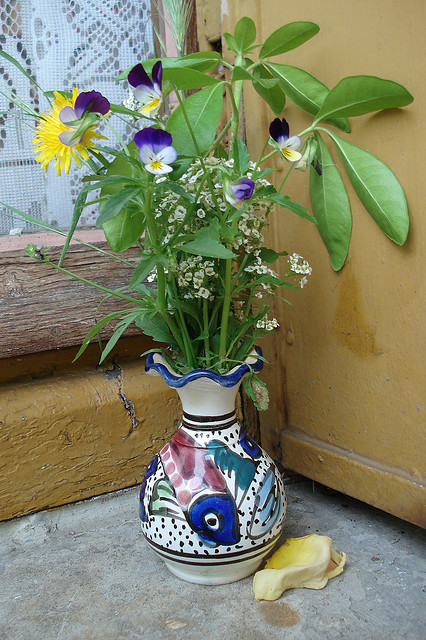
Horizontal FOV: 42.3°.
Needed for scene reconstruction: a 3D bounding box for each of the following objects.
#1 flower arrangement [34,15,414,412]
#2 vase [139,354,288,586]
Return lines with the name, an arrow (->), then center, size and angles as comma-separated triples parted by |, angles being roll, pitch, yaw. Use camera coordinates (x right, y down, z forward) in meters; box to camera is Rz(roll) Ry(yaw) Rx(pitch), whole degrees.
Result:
flower arrangement -> 0.023, -0.156, 0.856 | 0.530, 0.521, 0.461 | 4, 18, 11
vase -> -0.006, 0.228, 0.873 | 0.246, 0.315, 0.235 | 3, 9, 12
